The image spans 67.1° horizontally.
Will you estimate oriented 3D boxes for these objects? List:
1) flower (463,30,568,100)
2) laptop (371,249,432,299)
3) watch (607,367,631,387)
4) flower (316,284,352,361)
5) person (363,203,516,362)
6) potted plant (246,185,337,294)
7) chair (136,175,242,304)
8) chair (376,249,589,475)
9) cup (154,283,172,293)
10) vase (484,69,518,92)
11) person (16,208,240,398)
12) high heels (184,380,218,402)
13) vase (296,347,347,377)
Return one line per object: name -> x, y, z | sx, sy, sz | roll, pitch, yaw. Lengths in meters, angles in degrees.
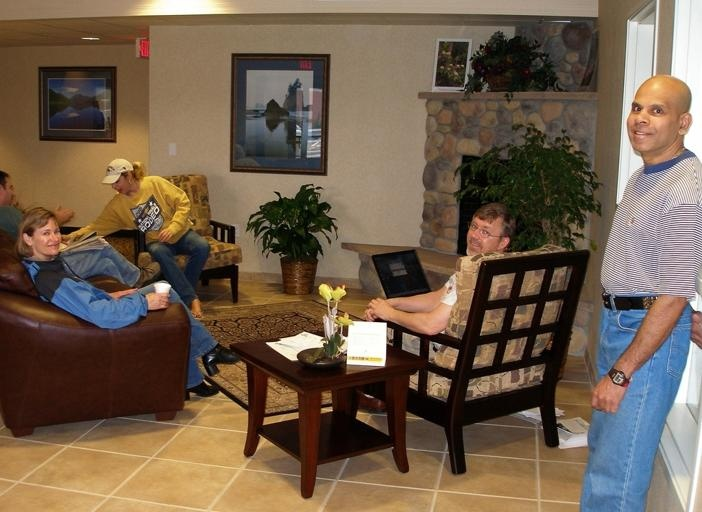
flower -> 1.492, -1.860, 5.252 | 0.757, 0.479, 0.736 | 8, 32, 16
laptop -> 0.290, 0.110, 3.154 | 0.279, 0.389, 0.279 | -19, 2, -5
watch -> 0.853, 0.389, 1.694 | 0.063, 0.063, 0.030 | 9, 15, 28
flower -> -0.060, 0.307, 2.464 | 0.185, 0.300, 0.179 | 4, 2, -44
person -> 0.528, 0.071, 2.823 | 0.552, 0.741, 0.881 | -12, 19, -33
potted plant -> -0.645, -0.212, 6.015 | 0.960, 1.168, 0.721 | 2, 13, 1
chair -> -1.662, -0.224, 5.634 | 0.965, 1.113, 0.816 | 20, 13, 41
chair -> 0.631, 0.537, 3.085 | 0.831, 1.036, 1.148 | -2, 1, -33
cup -> -1.115, 0.185, 3.112 | 0.068, 0.044, 0.065 | 3, 1, 0
vase -> 1.470, -1.686, 5.157 | 0.233, 0.157, 0.207 | 8, 11, 37
person -> -1.471, 0.302, 3.432 | 1.246, 1.338, 1.003 | -13, 23, -31
high heels -> -1.000, 0.896, 3.525 | 0.189, 0.078, 0.082 | -4, 8, -23
vase -> -0.153, 0.473, 2.488 | 0.229, 0.101, 0.156 | 6, 13, 19
